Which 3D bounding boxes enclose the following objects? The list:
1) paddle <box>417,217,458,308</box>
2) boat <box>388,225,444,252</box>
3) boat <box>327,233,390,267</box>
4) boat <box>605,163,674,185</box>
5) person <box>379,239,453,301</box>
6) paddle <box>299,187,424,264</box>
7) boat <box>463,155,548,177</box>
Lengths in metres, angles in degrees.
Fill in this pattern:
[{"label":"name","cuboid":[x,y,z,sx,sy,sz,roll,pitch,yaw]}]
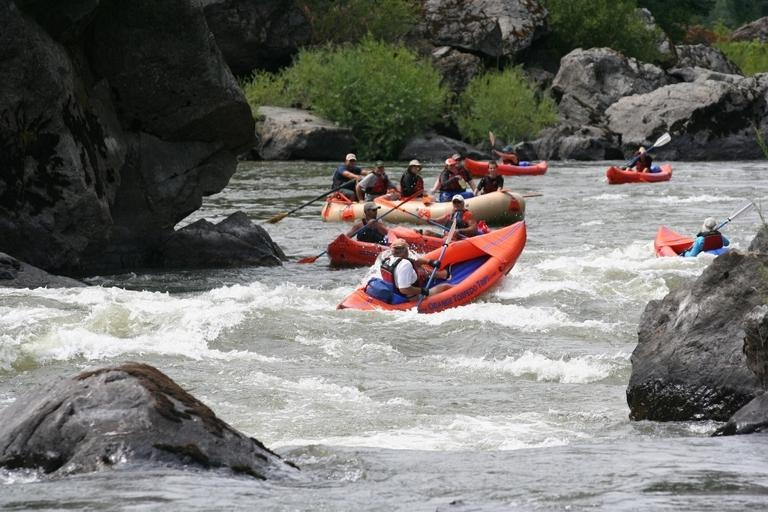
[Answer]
[{"label":"paddle","cuboid":[1.206,0.149,34.557,0.999,1.821,0.928,0,2,5]},{"label":"boat","cuboid":[0.789,-0.417,37.171,1.083,0.290,0.696,-1,19,-23]},{"label":"boat","cuboid":[-0.784,-0.002,37.303,1.502,0.524,1.790,1,-7,12]},{"label":"boat","cuboid":[7.711,-2.433,47.550,1.599,0.398,0.829,-5,9,-23]},{"label":"person","cuboid":[0.741,0.310,33.822,1.872,0.878,1.036,-8,41,-38]},{"label":"paddle","cuboid":[-0.418,-0.725,38.838,4.342,0.409,0.185,-24,54,6]},{"label":"boat","cuboid":[3.820,-2.823,50.831,2.095,0.369,1.114,-3,8,-27]}]
